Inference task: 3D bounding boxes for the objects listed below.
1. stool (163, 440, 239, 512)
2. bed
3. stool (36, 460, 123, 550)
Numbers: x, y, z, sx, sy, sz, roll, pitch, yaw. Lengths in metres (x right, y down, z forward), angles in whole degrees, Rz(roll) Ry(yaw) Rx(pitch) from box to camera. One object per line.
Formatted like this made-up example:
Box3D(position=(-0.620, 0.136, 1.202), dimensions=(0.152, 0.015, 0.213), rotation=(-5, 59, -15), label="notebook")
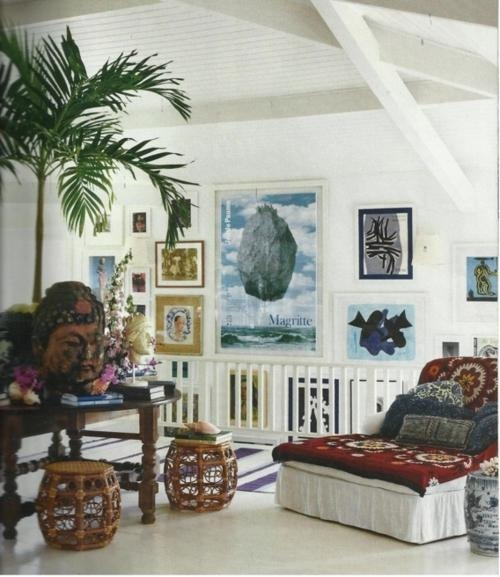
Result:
Box3D(position=(-0.247, 0.964, 3.595), dimensions=(0.377, 0.329, 0.380), rotation=(-1, -3, 15), label="stool")
Box3D(position=(0.888, 0.750, 3.512), dimensions=(0.993, 0.621, 0.791), rotation=(2, -3, -42), label="bed")
Box3D(position=(-0.739, 0.937, 2.969), dimensions=(0.337, 0.365, 0.384), rotation=(0, 0, 3), label="stool")
